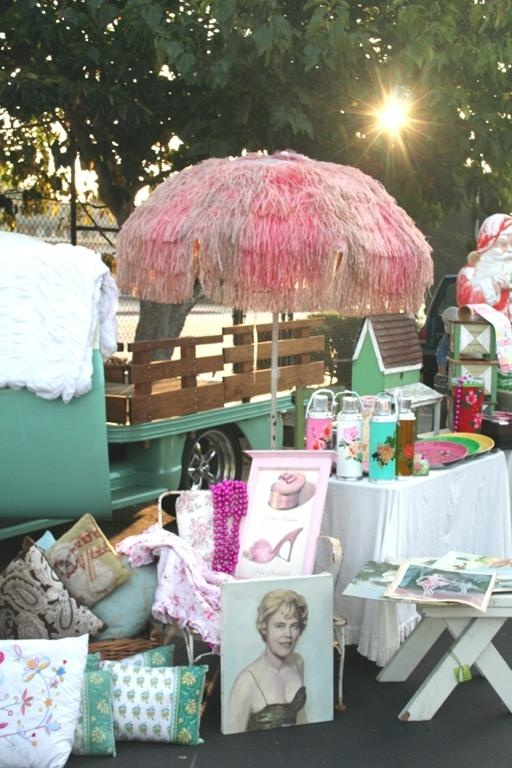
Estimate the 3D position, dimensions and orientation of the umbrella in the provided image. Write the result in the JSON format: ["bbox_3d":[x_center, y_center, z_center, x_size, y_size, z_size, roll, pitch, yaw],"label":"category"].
[{"bbox_3d":[0.064,-0.443,3.310,0.951,0.938,0.935,-1,7,-44],"label":"umbrella"}]
